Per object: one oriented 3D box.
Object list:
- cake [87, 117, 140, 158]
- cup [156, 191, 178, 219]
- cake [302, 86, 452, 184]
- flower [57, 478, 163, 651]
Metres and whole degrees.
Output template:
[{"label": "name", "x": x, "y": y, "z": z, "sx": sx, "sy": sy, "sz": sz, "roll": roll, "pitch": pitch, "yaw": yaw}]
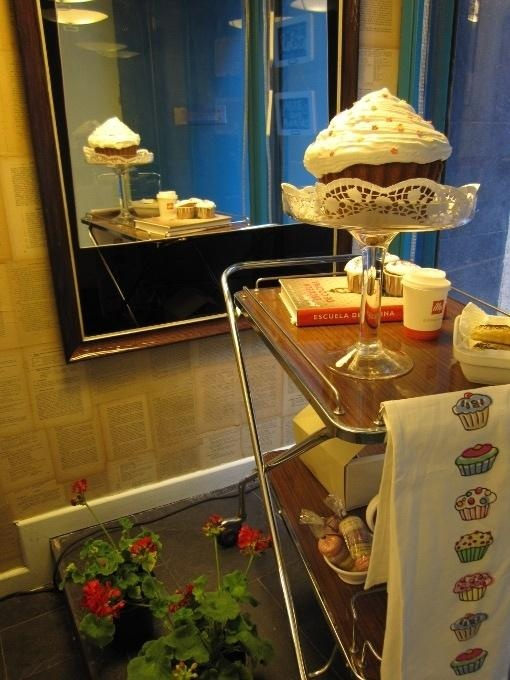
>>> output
[{"label": "cake", "x": -0.373, "y": -0.531, "z": 1.403, "sx": 0.114, "sy": 0.069, "sz": 0.099, "roll": -6, "pitch": 32, "yaw": -10}, {"label": "cup", "x": -0.241, "y": -0.393, "z": 1.551, "sx": 0.070, "sy": 0.073, "sz": 0.066, "roll": 3, "pitch": 25, "yaw": -1}, {"label": "cake", "x": 0.167, "y": -0.253, "z": 0.723, "sx": 0.168, "sy": 0.102, "sz": 0.139, "roll": -5, "pitch": 5, "yaw": -31}, {"label": "flower", "x": -0.422, "y": 0.637, "z": 1.496, "sx": 0.284, "sy": 0.394, "sz": 0.281, "roll": 7, "pitch": 42, "yaw": 21}]
